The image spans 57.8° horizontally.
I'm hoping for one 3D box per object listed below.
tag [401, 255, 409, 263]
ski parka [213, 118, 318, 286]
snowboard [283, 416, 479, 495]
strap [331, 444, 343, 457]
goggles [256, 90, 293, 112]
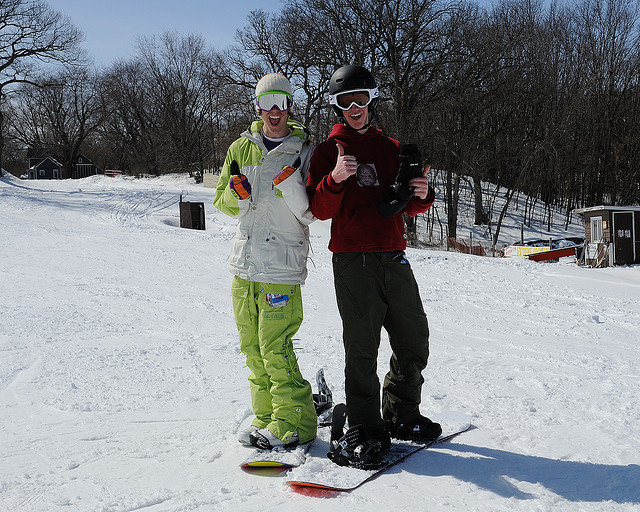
[{"bbox_3d":[0.621,0.029,4.223,0.037,0.055,0.055,-1,-10,-9],"label":"tag"},{"bbox_3d":[-0.429,-0.428,4.440,0.737,1.231,0.451,2,7,-6],"label":"ski parka"},{"bbox_3d":[0.405,1.422,3.951,0.426,0.149,1.619,9,11,35],"label":"snowboard"},{"bbox_3d":[0.122,1.358,4.006,0.028,0.098,0.024,20,33,-42],"label":"strap"},{"bbox_3d":[-0.343,-1.174,4.403,0.285,0.172,0.156,2,8,-12],"label":"goggles"}]
